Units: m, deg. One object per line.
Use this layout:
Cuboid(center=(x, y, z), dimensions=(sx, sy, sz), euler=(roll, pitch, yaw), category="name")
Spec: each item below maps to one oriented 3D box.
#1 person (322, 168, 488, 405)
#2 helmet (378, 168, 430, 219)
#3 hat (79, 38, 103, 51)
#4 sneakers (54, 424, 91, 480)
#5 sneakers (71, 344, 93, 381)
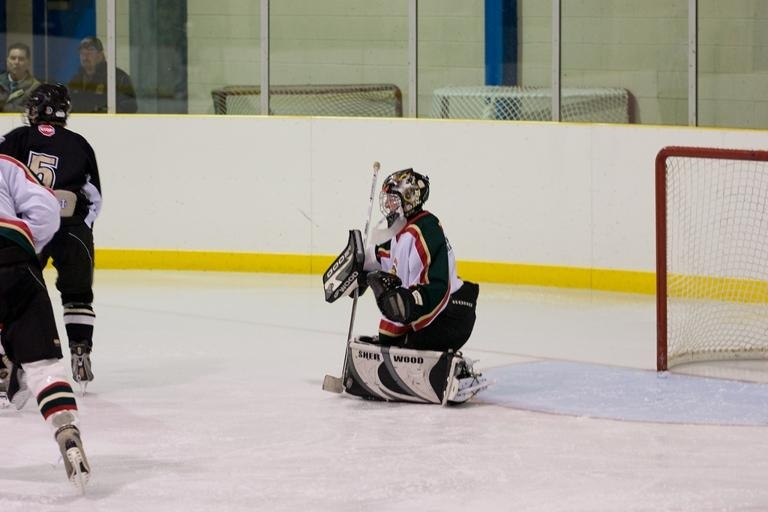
Cuboid(center=(0.074, 0.118, 7.460), dimensions=(1.189, 1.583, 0.883), euler=(-3, -4, 43), category="person")
Cuboid(center=(0.133, -0.409, 7.315), dimensions=(0.328, 0.293, 0.261), euler=(-6, 7, -10), category="helmet")
Cuboid(center=(-2.685, -1.939, 10.740), dimensions=(0.213, 0.113, 0.057), euler=(3, 14, 11), category="hat")
Cuboid(center=(-1.590, 0.997, 5.979), dimensions=(0.108, 0.288, 0.177), euler=(-11, 17, -39), category="sneakers")
Cuboid(center=(-1.881, 0.647, 7.267), dimensions=(0.103, 0.270, 0.114), euler=(-3, -15, -13), category="sneakers")
